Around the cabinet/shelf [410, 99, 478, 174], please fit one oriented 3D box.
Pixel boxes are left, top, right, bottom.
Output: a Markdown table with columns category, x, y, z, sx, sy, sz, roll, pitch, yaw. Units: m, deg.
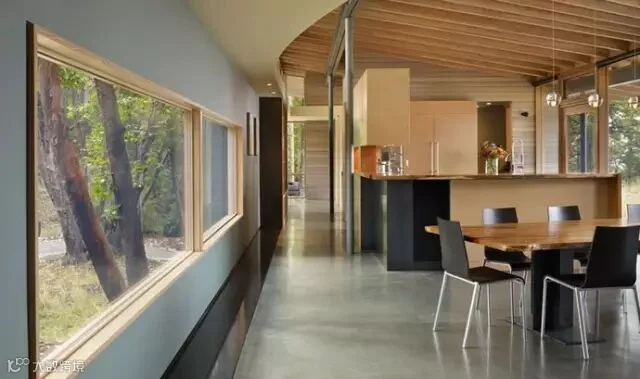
| category | x | y | z | sx | sy | sz | roll | pitch | yaw |
| --- | --- | --- | --- | --- | --- | --- | --- | --- | --- |
| cabinet/shelf | 3.129 | -1.269 | 11.449 | 2.182 | 1.970 | 0.802 | 0 | -3 | -1 |

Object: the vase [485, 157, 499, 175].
| category | x | y | z | sx | sy | sz | roll | pitch | yaw |
| --- | --- | --- | --- | --- | --- | --- | --- | --- | --- |
| vase | 3.142 | -0.428 | 8.182 | 0.185 | 0.284 | 0.288 | -1 | 9 | -1 |

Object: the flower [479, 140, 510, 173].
| category | x | y | z | sx | sy | sz | roll | pitch | yaw |
| --- | --- | --- | --- | --- | --- | --- | --- | --- | --- |
| flower | 3.183 | -0.572 | 8.341 | 0.559 | 0.494 | 0.545 | -2 | 0 | -36 |

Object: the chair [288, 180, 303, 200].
| category | x | y | z | sx | sy | sz | roll | pitch | yaw |
| --- | --- | --- | --- | --- | --- | --- | --- | --- | --- |
| chair | -0.978 | -0.003 | 17.749 | 0.598 | 0.460 | 0.548 | -1 | 3 | 3 |
